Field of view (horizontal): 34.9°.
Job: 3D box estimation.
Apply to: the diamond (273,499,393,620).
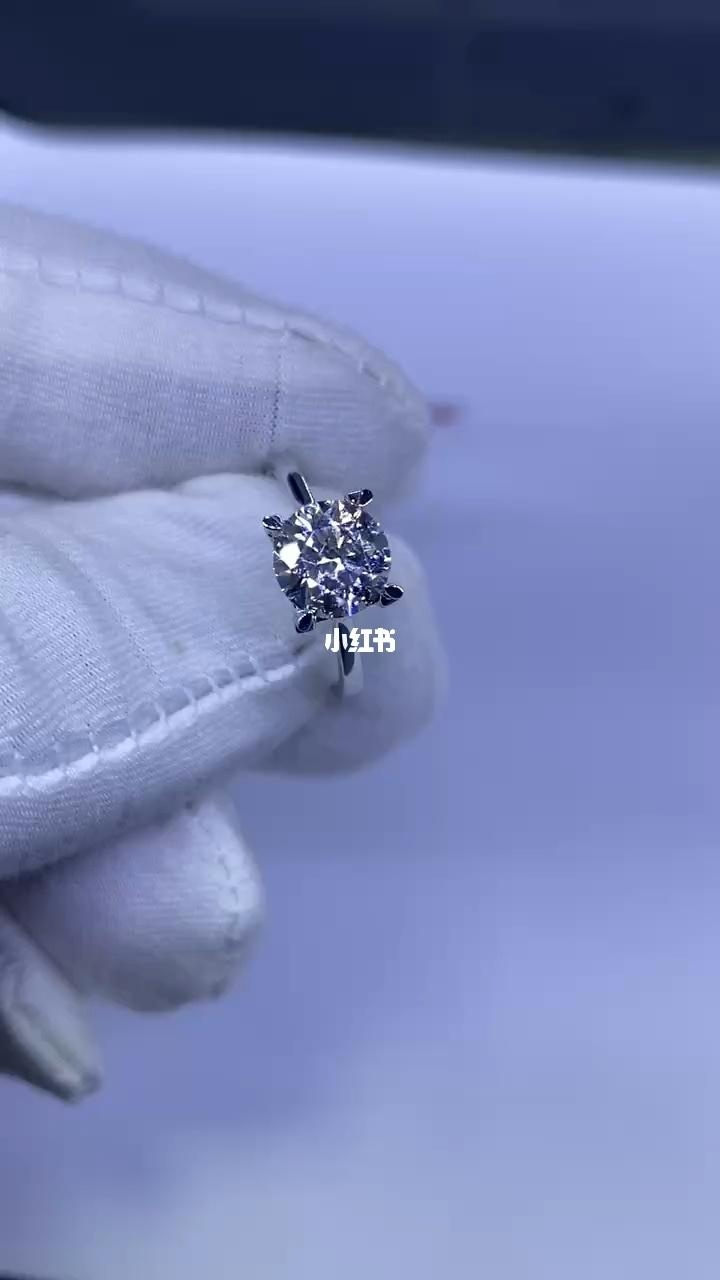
[{"bbox_3d":[-0.020,-0.047,0.662,0.077,0.079,0.058,1,10,-11],"label":"diamond"}]
